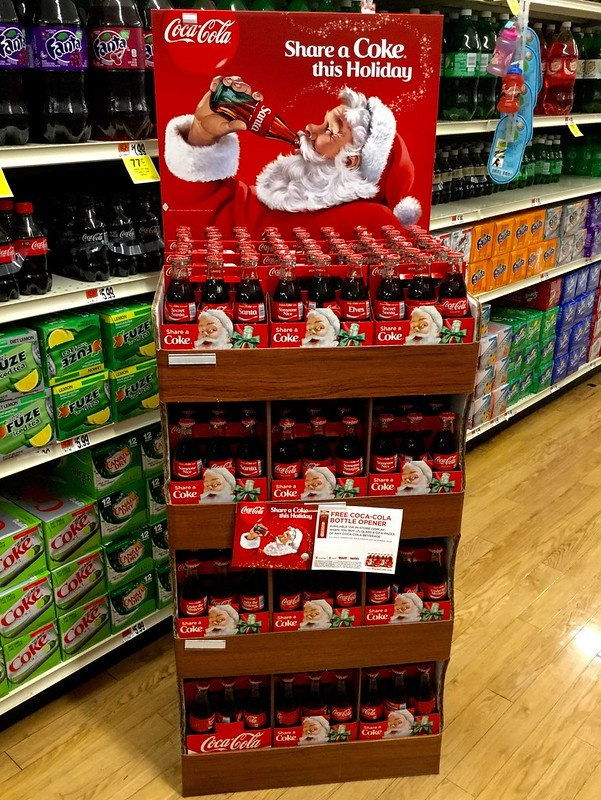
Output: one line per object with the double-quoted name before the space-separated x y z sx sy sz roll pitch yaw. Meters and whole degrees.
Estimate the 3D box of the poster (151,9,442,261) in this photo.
"poster" -0.020 -0.682 1.568 0.783 0.692 0.250 -2 31 -8
